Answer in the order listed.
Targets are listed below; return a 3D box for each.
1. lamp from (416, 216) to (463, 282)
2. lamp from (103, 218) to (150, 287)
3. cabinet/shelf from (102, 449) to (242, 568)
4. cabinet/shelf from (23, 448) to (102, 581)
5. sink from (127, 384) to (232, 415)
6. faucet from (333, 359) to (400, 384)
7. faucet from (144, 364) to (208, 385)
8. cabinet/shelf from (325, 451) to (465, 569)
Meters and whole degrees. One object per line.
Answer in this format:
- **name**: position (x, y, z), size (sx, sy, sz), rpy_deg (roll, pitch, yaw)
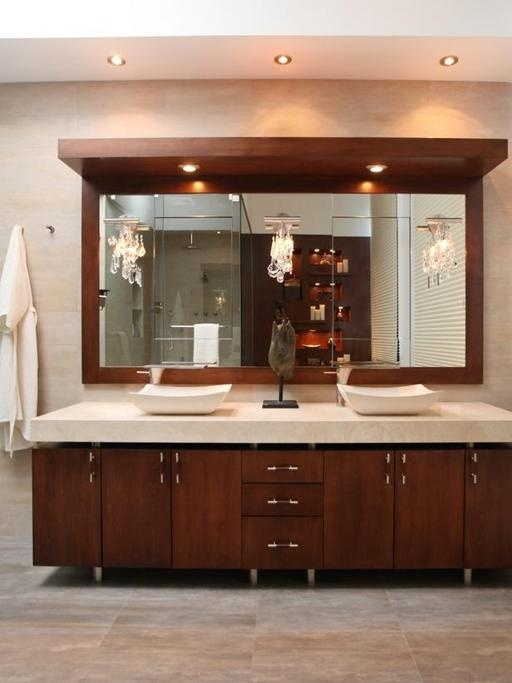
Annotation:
- **lamp**: position (0.984, -0.483, 3.506), size (0.251, 0.366, 0.067), rpy_deg (-2, 6, -20)
- **lamp**: position (-0.683, -0.467, 3.500), size (0.274, 0.492, 0.299), rpy_deg (0, 3, -22)
- **cabinet/shelf**: position (-0.363, 0.717, 3.136), size (0.747, 0.712, 0.460), rpy_deg (0, -5, 0)
- **cabinet/shelf**: position (-0.873, 0.755, 3.095), size (0.374, 0.558, 0.421), rpy_deg (-2, 4, -41)
- **sink**: position (-0.360, 0.277, 3.212), size (0.440, 0.129, 0.498), rpy_deg (-1, 6, -4)
- **faucet**: position (0.571, 0.168, 3.476), size (0.357, 0.125, 0.135), rpy_deg (-3, 6, -23)
- **faucet**: position (-0.413, 0.175, 3.475), size (0.313, 0.111, 0.089), rpy_deg (-1, 5, -2)
- **cabinet/shelf**: position (0.595, 0.766, 2.893), size (0.438, 0.423, 0.182), rpy_deg (0, -5, 1)
